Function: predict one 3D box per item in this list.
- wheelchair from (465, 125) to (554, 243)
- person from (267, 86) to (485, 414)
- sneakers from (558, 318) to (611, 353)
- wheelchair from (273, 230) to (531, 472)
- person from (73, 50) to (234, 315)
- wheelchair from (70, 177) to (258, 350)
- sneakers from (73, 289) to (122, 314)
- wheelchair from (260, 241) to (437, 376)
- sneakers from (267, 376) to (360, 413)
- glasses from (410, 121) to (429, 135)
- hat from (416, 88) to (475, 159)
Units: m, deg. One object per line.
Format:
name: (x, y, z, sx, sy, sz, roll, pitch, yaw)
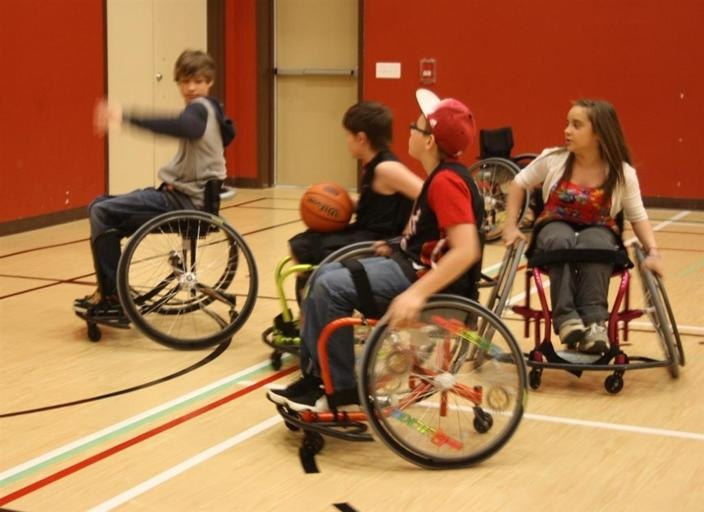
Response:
wheelchair: (1.691, -0.728, 6.011, 1.013, 1.142, 0.892, 0, 12, 14)
person: (0.121, -0.002, 2.320, 0.862, 1.246, 0.566, -1, 8, -7)
sneakers: (1.192, 0.386, 2.874, 0.246, 0.139, 0.099, 0, 2, 8)
wheelchair: (0.188, 0.436, 2.514, 0.835, 0.909, 0.634, 3, 4, -4)
person: (-1.206, -0.455, 3.603, 0.967, 1.580, 0.863, -1, 9, -26)
wheelchair: (-1.150, -0.156, 3.706, 1.148, 1.298, 0.922, 7, 16, -11)
sneakers: (-1.539, 0.265, 3.605, 0.364, 0.158, 0.134, 5, 6, 8)
wheelchair: (-0.159, 0.264, 3.329, 0.674, 0.747, 0.543, 2, -8, -9)
sneakers: (-0.130, 0.534, 2.315, 0.382, 0.166, 0.142, 5, -4, 0)
glasses: (0.300, -0.493, 2.303, 0.066, 0.019, 0.065, 22, 14, 1)
hat: (0.392, -0.516, 2.298, 0.319, 0.158, 0.212, 20, 32, 0)
